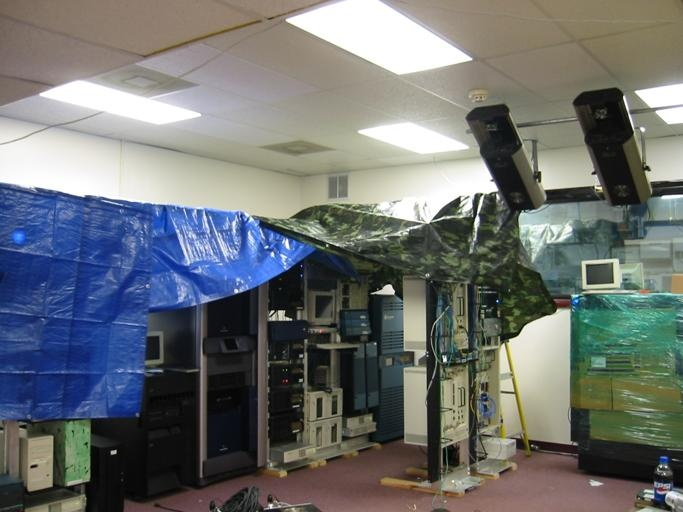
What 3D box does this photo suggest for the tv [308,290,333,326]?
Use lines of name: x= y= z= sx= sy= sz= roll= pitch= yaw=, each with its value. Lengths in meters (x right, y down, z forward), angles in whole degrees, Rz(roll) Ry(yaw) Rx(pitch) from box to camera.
tv: x=-0.274 y=0.609 z=6.633 sx=0.312 sy=0.390 sz=0.227 roll=2 pitch=-3 yaw=-34

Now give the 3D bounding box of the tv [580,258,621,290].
tv: x=2.786 y=0.184 z=6.107 sx=0.370 sy=0.283 sz=0.196 roll=-4 pitch=6 yaw=11

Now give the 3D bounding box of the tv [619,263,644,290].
tv: x=3.144 y=0.210 z=6.101 sx=0.142 sy=0.263 sz=0.285 roll=3 pitch=-3 yaw=-41
